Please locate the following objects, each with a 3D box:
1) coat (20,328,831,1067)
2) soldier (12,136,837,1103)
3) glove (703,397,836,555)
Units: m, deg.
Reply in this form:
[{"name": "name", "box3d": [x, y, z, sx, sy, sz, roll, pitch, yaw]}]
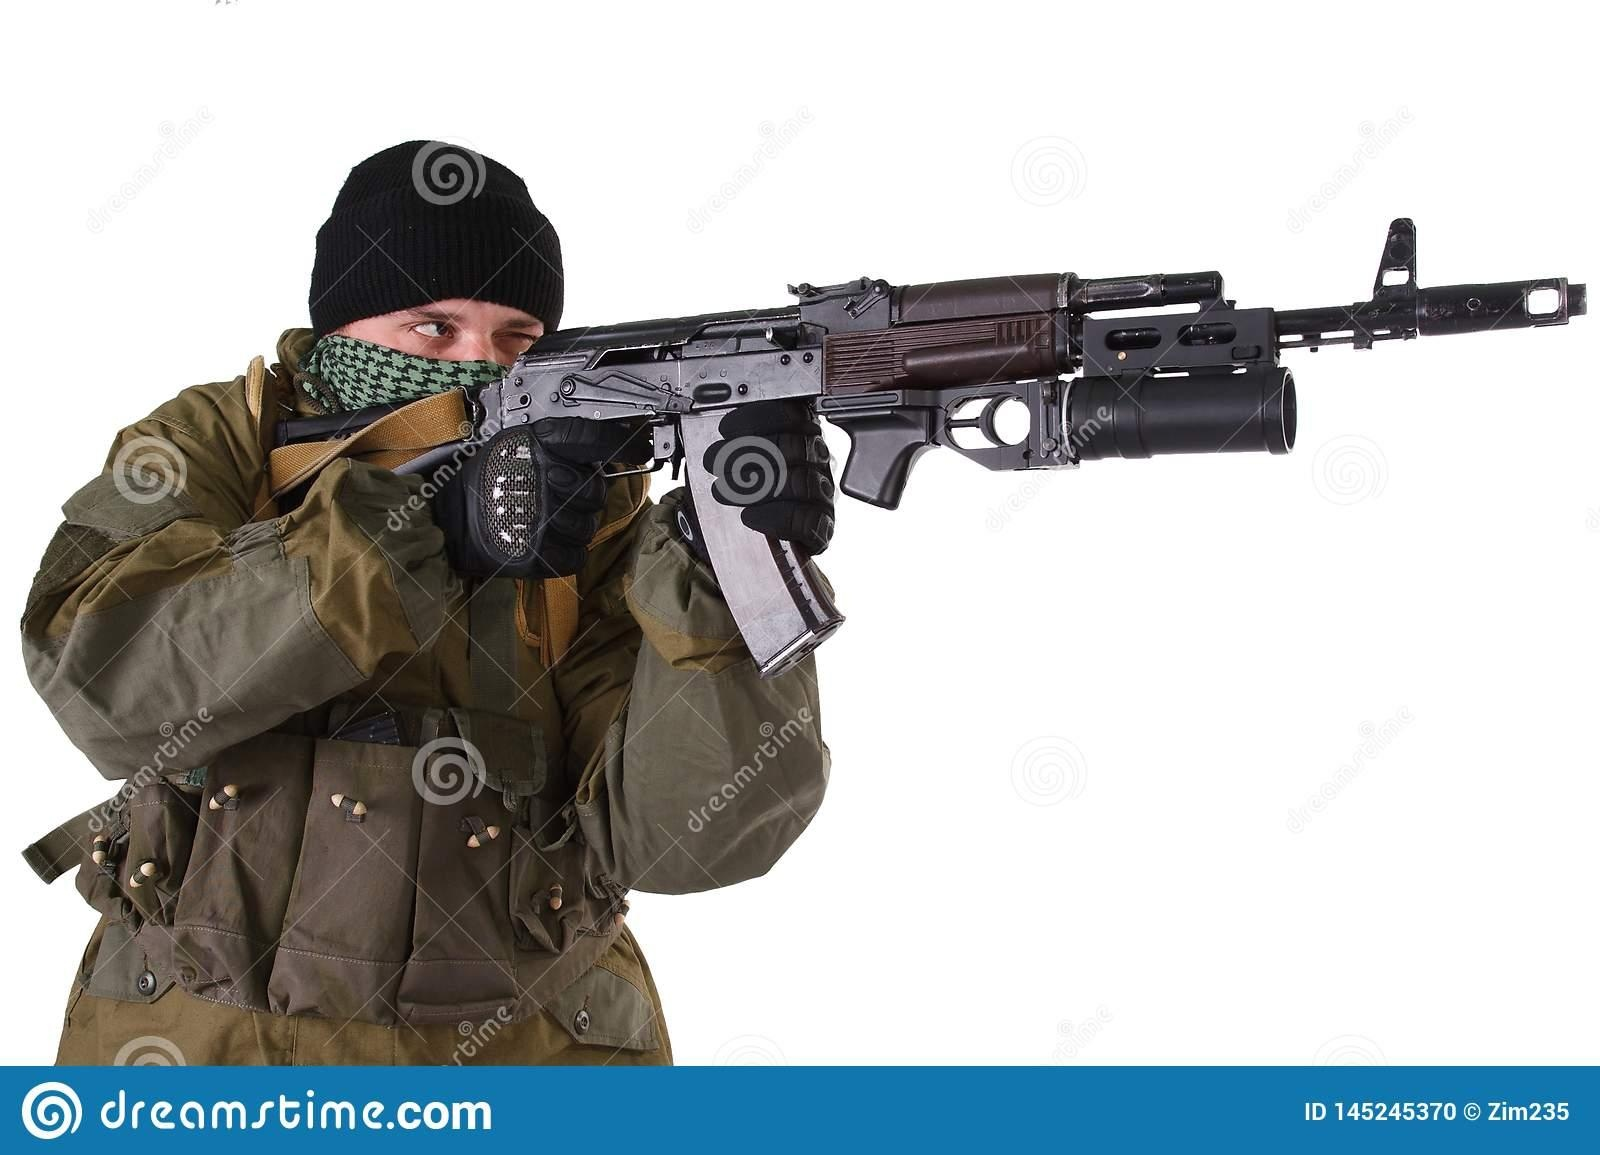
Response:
[{"name": "coat", "box3d": [-1.061, 0.517, 4.991, 1.719, 2.095, 1.538, 8, -9, -24]}, {"name": "soldier", "box3d": [-0.888, 0.293, 4.744, 1.281, 2.267, 1.601, 15, -39, -26]}, {"name": "glove", "box3d": [-0.068, -0.255, 4.799, 0.354, 0.359, 0.140, 1, -5, 23]}]
